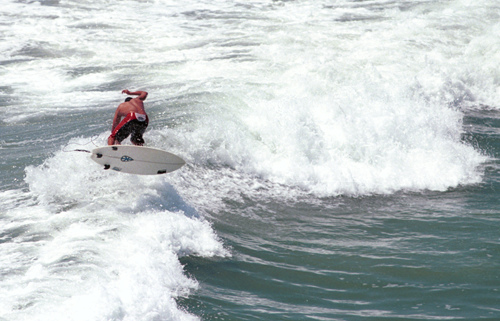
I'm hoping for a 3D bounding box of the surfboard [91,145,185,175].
[{"bbox_3d":[-3.271,-0.044,18.774,3.277,0.789,0.380,2,25,-14],"label":"surfboard"}]
